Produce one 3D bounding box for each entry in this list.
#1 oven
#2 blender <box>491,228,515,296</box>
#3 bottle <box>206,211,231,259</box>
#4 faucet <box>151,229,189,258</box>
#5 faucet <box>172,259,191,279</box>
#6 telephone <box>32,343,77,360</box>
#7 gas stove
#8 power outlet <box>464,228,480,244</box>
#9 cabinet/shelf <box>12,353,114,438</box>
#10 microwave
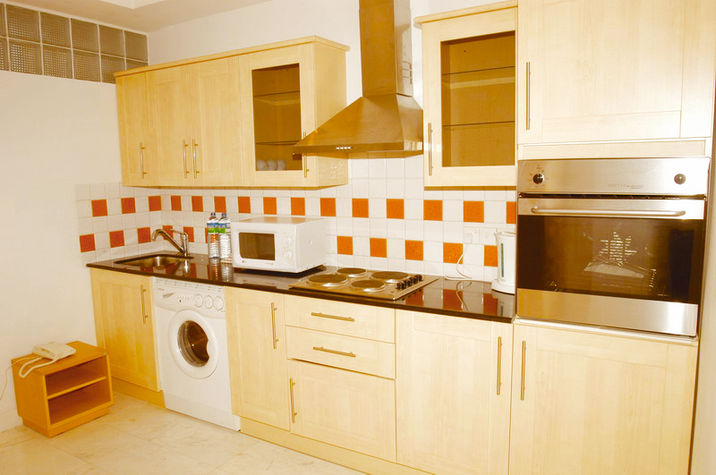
[{"bbox_3d":[1.290,0.048,3.244,1.267,1.186,0.862,3,6,28],"label":"oven"},{"bbox_3d":[0.909,0.162,3.369,0.100,0.373,0.194,-2,8,-2],"label":"blender"},{"bbox_3d":[-1.114,-0.002,4.320,0.128,0.356,0.272,-7,10,-37],"label":"bottle"},{"bbox_3d":[-1.589,0.031,4.603,0.275,0.237,0.522,-3,8,-17],"label":"faucet"},{"bbox_3d":[-1.351,0.230,4.178,0.128,0.041,0.720,-3,8,-18],"label":"faucet"},{"bbox_3d":[-2.228,0.832,3.965,0.163,0.054,0.159,9,9,22],"label":"telephone"},{"bbox_3d":[0.050,0.297,3.615,0.825,0.091,0.615,3,8,27],"label":"gas stove"},{"bbox_3d":[0.759,-0.008,3.610,0.108,0.095,0.027,3,9,38],"label":"power outlet"},{"bbox_3d":[-2.169,1.140,4.163,0.603,0.602,0.655,4,10,32],"label":"cabinet/shelf"},{"bbox_3d":[-0.581,0.046,4.029,0.622,0.386,0.411,2,8,23],"label":"microwave"}]
